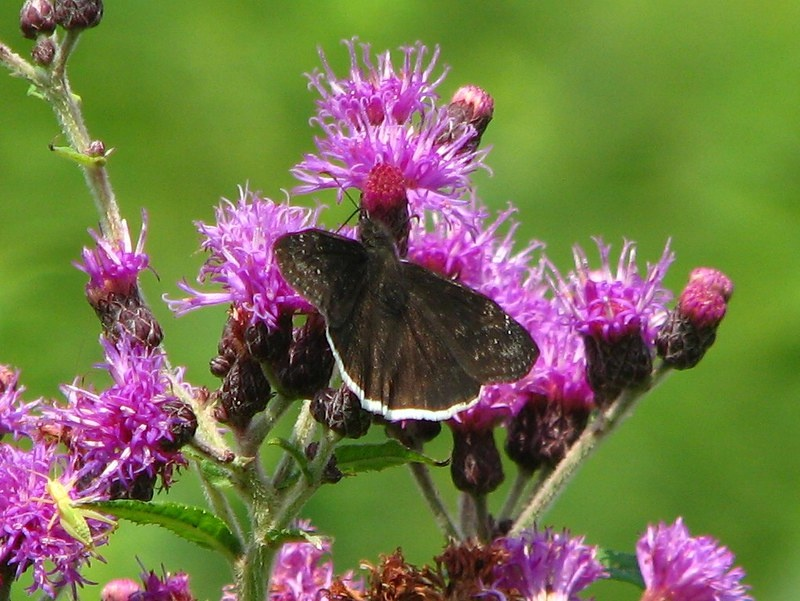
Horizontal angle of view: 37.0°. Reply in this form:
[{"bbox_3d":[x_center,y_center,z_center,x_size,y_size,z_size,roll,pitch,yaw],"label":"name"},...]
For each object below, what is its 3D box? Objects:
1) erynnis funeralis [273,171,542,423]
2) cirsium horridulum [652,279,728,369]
[{"bbox_3d":[-0.017,0.015,2.680,0.631,0.621,0.281,19,-42,-15],"label":"erynnis funeralis"},{"bbox_3d":[0.655,0.048,2.743,0.088,0.184,0.097,26,-23,-4],"label":"cirsium horridulum"}]
